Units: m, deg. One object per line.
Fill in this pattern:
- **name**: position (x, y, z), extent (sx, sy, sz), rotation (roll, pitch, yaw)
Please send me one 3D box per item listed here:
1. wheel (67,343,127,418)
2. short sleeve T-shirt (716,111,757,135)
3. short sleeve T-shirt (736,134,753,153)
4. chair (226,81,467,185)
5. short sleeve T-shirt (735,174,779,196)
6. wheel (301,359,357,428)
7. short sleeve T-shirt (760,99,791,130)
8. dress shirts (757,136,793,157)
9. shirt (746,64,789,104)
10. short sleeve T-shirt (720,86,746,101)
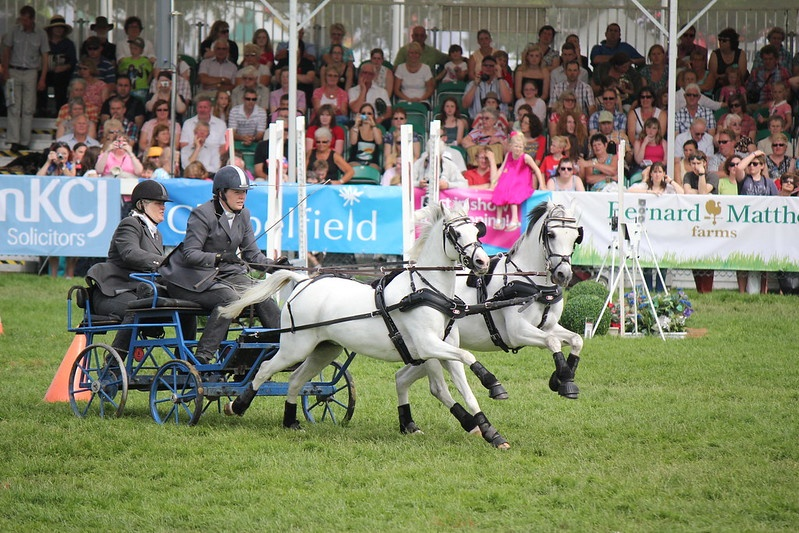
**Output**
- **wheel**: position (-4.944, 1.899, 27.439), extent (1.137, 1.143, 0.295), rotation (4, 0, 45)
- **short sleeve T-shirt**: position (7.241, -3.040, 35.909), extent (0.675, 0.509, 1.202), rotation (0, 0, 32)
- **short sleeve T-shirt**: position (7.348, -2.567, 35.329), extent (0.319, 0.440, 0.836), rotation (1, 0, 14)
- **chair**: position (-1.057, -2.601, 35.384), extent (5.424, 2.098, 3.961), rotation (1, 0, 13)
- **short sleeve T-shirt**: position (7.366, -1.836, 34.002), extent (0.752, 0.703, 0.414), rotation (0, -17, 1)
- **wheel**: position (-1.259, 2.151, 27.796), extent (1.143, 1.131, 0.795), rotation (3, -4, -13)
- **short sleeve T-shirt**: position (8.152, -3.233, 35.950), extent (0.465, 0.719, 0.718), rotation (8, -5, -36)
- **dress shirts**: position (8.051, -2.553, 35.666), extent (0.579, 0.397, 1.195), rotation (1, 0, 32)
- **shirt**: position (8.175, -4.017, 36.890), extent (0.960, 0.866, 0.501), rotation (7, 10, 5)
- **short sleeve T-shirt**: position (7.382, -3.780, 36.766), extent (0.573, 0.536, 0.316), rotation (-1, -45, 9)
